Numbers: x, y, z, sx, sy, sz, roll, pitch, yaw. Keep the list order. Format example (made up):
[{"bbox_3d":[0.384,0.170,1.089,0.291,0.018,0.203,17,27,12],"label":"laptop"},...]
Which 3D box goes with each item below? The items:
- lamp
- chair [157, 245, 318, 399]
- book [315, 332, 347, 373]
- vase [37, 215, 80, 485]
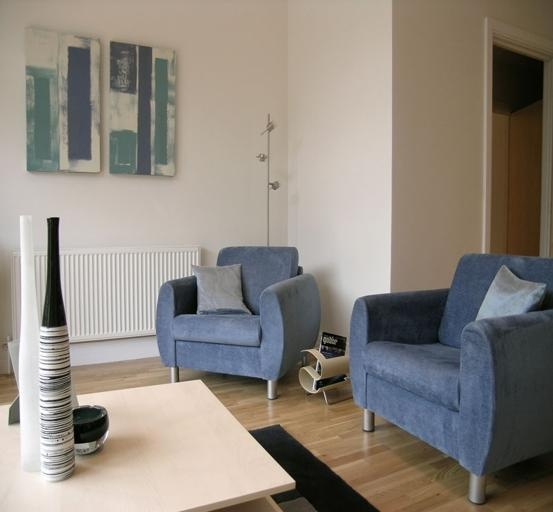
[{"bbox_3d":[-0.062,-0.652,4.307,0.237,1.119,0.167,-4,7,-31],"label":"lamp"},{"bbox_3d":[-0.225,0.323,3.315,0.967,0.834,1.016,4,3,37],"label":"chair"},{"bbox_3d":[0.349,0.562,3.097,0.200,0.064,0.225,3,28,13],"label":"book"},{"bbox_3d":[-0.614,0.252,1.376,0.084,0.703,0.118,-4,7,-28],"label":"vase"}]
